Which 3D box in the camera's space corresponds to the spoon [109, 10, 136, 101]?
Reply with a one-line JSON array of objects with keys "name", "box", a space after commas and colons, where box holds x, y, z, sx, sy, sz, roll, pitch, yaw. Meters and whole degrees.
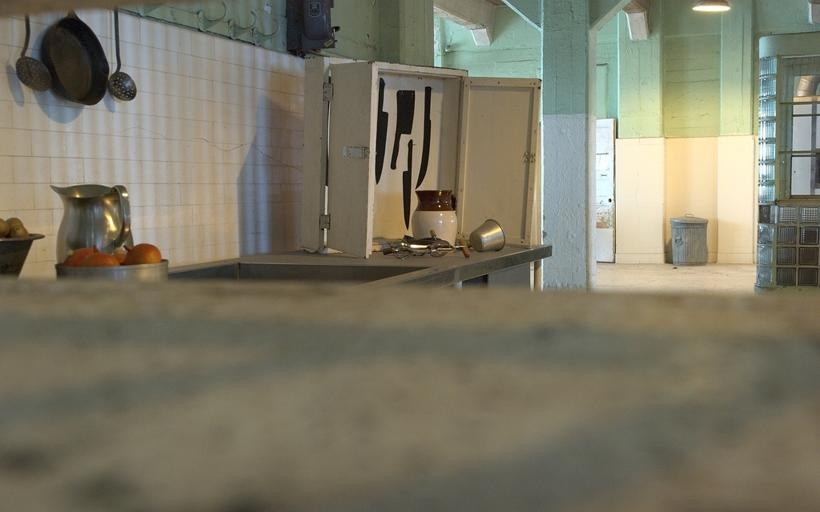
[{"name": "spoon", "box": [-1.133, -0.785, 2.517, 0.083, 0.259, 0.184, 1, -1, -6]}]

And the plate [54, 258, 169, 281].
[{"name": "plate", "box": [-0.755, 0.039, 1.655, 0.278, 0.037, 0.325, 1, 0, -29]}]

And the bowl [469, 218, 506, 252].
[{"name": "bowl", "box": [0.376, -0.097, 3.107, 0.173, 0.156, 0.160, 1, 0, 0]}]

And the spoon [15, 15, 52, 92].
[{"name": "spoon", "box": [-1.298, -0.689, 2.198, 0.091, 0.204, 0.209, 1, -1, -17]}]

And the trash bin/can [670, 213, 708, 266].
[{"name": "trash bin/can", "box": [4.135, -0.214, 9.495, 0.536, 0.694, 0.464, 0, 1, 14]}]

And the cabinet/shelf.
[{"name": "cabinet/shelf", "box": [-0.017, -0.535, 3.125, 0.521, 0.779, 0.745, 16, 18, 38]}]
